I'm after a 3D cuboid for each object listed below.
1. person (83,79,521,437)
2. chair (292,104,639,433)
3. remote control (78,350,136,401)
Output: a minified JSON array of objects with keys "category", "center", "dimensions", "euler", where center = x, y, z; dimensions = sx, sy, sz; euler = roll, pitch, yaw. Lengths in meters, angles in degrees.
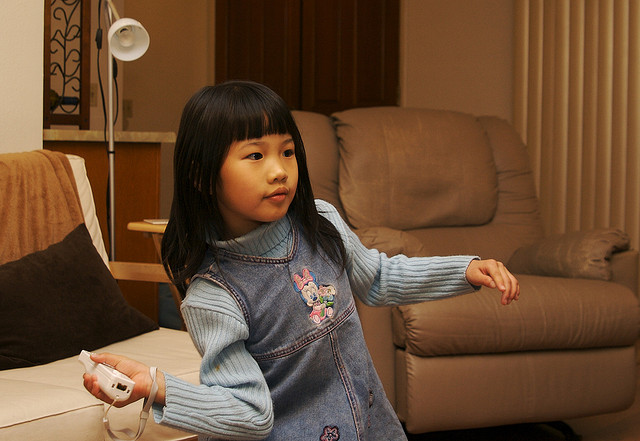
[{"category":"person","center":[-0.104,0.117,1.484],"dimensions":[0.922,0.918,0.284],"euler":[-8,8,-26]},{"category":"chair","center":[0.662,0.199,2.968],"dimensions":[1.266,1.510,1.459],"euler":[-2,2,-16]},{"category":"remote control","center":[-0.498,0.349,1.391],"dimensions":[0.141,0.055,0.082],"euler":[26,-15,25]}]
